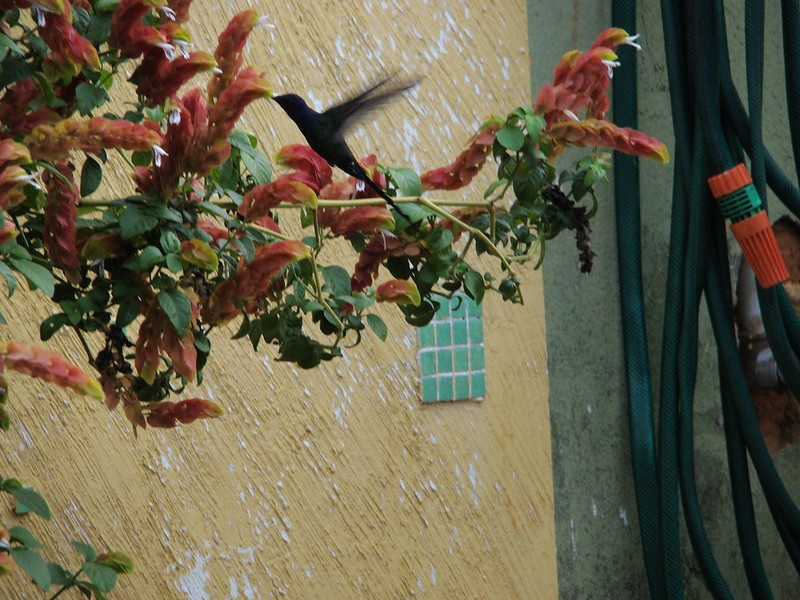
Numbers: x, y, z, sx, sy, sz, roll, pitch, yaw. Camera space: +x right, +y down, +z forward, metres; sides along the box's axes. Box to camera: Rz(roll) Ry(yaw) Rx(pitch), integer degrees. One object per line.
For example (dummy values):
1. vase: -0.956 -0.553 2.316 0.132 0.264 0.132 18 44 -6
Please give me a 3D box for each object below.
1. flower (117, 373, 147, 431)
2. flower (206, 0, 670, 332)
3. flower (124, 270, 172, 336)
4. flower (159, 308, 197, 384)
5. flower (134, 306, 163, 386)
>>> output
1. flower: -0.414 0.160 3.566 0.030 0.100 0.017 -27 -9 5
2. flower: 0.071 -0.219 3.693 0.593 0.372 0.435 10 3 -11
3. flower: -0.378 0.004 3.479 0.037 0.139 0.020 -17 -21 -15
4. flower: -0.336 0.074 3.485 0.048 0.095 0.076 -8 12 -6
5. flower: -0.382 0.069 3.484 0.035 0.135 0.044 -1 -2 -24
